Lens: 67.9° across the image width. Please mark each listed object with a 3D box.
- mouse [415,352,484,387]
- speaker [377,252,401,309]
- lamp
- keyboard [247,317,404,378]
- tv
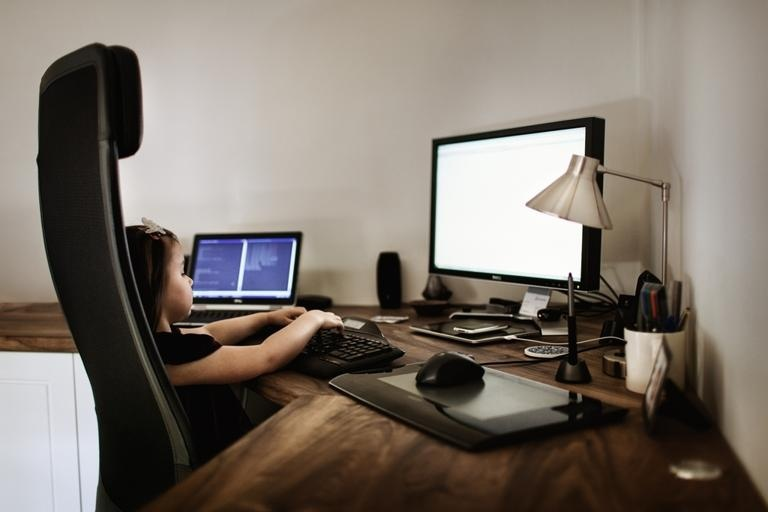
[{"bbox_3d":[0.133,0.227,1.198,0.154,0.055,0.192,4,5,-2],"label":"mouse"},{"bbox_3d":[0.019,0.086,2.021,0.089,0.196,0.082,-1,3,-1],"label":"speaker"},{"bbox_3d":[0.454,0.107,1.292,0.215,0.614,0.422,0,-1,44],"label":"lamp"},{"bbox_3d":[-0.095,0.225,1.322,0.119,0.037,0.213,0,1,-33],"label":"keyboard"},{"bbox_3d":[0.372,-0.078,1.566,0.175,0.579,0.677,1,1,-37],"label":"tv"}]
